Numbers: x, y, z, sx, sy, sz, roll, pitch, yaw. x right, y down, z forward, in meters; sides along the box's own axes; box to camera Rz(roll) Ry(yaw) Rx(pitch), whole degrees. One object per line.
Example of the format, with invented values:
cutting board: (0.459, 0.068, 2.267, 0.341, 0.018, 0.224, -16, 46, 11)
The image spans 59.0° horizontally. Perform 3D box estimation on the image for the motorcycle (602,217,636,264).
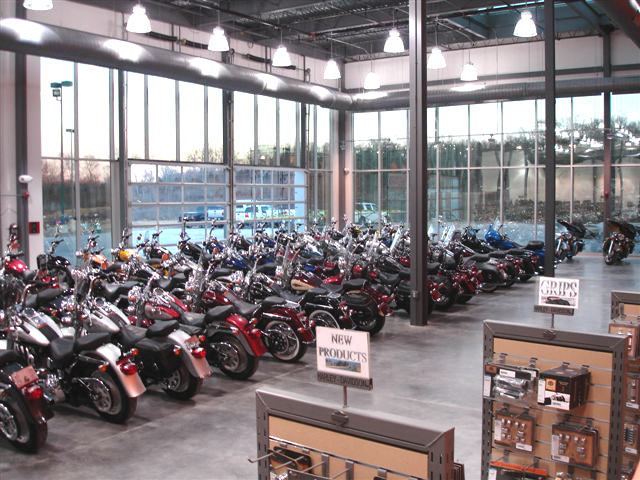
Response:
motorcycle: (7.754, 0.018, 15.205, 0.835, 0.975, 1.709, 26, 10, 18)
